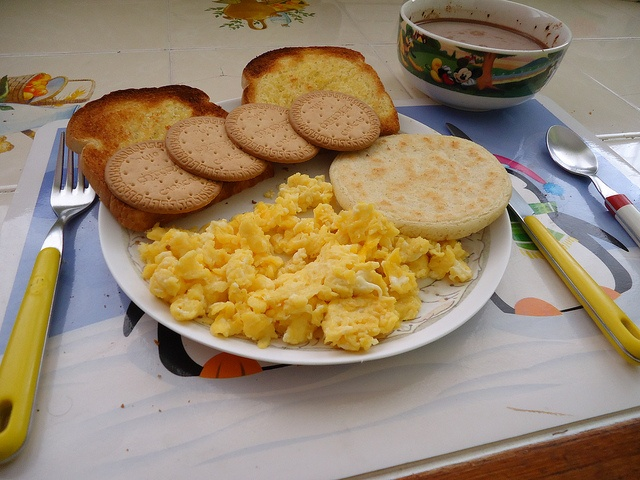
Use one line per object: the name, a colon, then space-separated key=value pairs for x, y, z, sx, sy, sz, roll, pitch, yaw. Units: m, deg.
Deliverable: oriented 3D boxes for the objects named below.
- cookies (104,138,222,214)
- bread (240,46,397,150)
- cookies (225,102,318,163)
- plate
cookies: x=-0.402 y=-0.142 z=1.252 sx=0.204 sy=0.041 sz=0.197 roll=12 pitch=45 yaw=-7
bread: x=-0.050 y=-0.531 z=1.726 sx=0.549 sy=0.313 sz=0.399 roll=-13 pitch=27 yaw=-26
cookies: x=-0.139 y=-0.285 z=1.384 sx=0.203 sy=0.016 sz=0.184 roll=36 pitch=45 yaw=23
plate: x=-0.009 y=0.001 z=1.242 sx=0.849 sy=0.151 sz=0.745 roll=-34 pitch=65 yaw=-19
